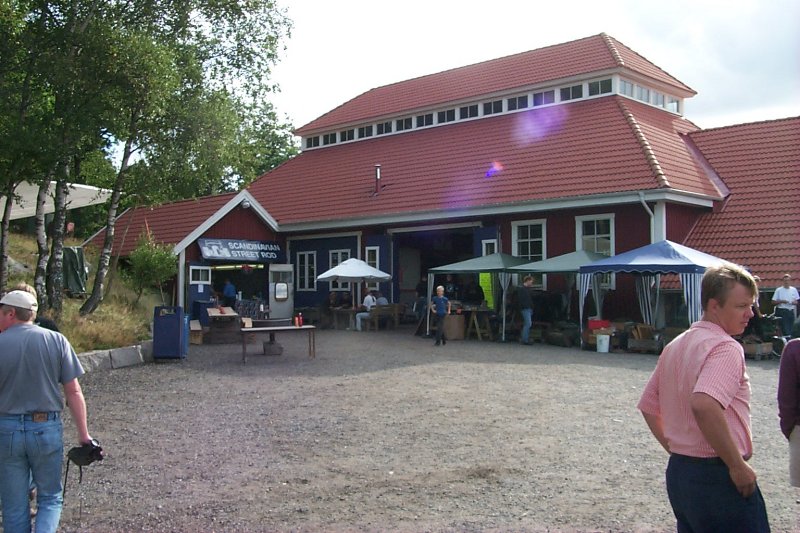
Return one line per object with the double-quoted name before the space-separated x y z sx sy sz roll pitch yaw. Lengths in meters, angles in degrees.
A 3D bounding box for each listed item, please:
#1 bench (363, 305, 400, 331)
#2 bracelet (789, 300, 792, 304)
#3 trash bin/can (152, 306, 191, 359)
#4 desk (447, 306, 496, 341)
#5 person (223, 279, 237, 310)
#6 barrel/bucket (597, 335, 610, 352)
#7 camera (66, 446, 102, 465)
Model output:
"bench" -0.698 1.724 27.205 1.427 0.901 0.778 3 -7 -41
"bracelet" 10.079 0.905 19.978 0.070 0.066 0.037 3 9 27
"trash bin/can" -5.444 1.559 18.299 0.786 1.272 0.659 3 -6 -19
"desk" 2.404 1.766 24.136 0.545 0.738 1.107 19 5 36
"person" -6.552 1.063 29.783 0.456 1.126 2.325 2 -6 -12
"barrel/bucket" 5.438 2.045 20.763 0.368 0.417 0.423 1 -5 -2
"camera" -3.728 2.202 9.143 0.297 0.184 0.298 -1 -7 40
